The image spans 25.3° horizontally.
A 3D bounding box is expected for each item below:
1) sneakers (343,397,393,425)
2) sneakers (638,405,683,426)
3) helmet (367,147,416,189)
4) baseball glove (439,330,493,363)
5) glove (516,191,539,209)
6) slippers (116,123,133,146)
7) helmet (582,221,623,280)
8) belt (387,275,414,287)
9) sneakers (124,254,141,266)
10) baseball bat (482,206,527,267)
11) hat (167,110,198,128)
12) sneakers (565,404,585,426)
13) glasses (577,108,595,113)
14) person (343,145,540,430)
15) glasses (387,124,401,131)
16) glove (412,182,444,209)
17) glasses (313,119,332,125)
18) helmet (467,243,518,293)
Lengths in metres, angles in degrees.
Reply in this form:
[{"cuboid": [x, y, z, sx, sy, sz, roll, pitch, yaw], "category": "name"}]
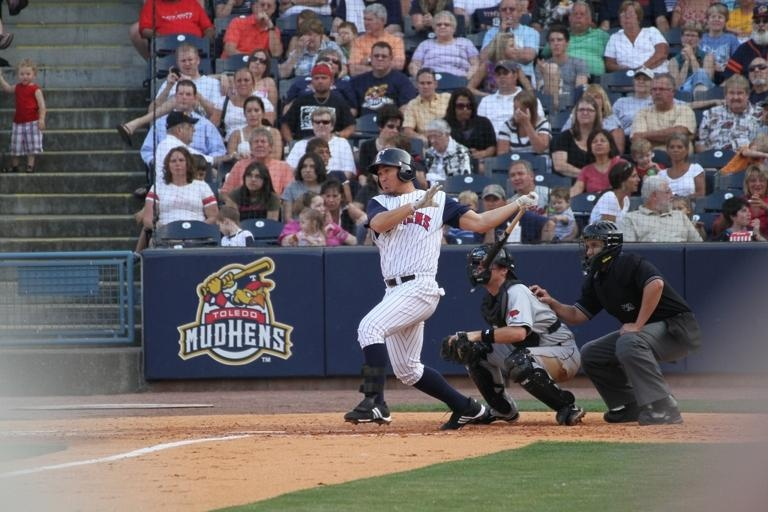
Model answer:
[{"cuboid": [-0.176, 1.554, 17.316, 0.462, 0.199, 0.229, 5, -8, -21], "category": "sneakers"}, {"cuboid": [2.827, 1.626, 17.549, 0.357, 0.126, 0.206, -1, 0, 3], "category": "sneakers"}, {"cuboid": [0.088, -0.916, 17.381, 0.440, 0.302, 0.319, -6, -9, -22], "category": "helmet"}, {"cuboid": [0.855, 0.935, 17.484, 0.424, 0.174, 0.306, 1, 0, -19], "category": "baseball glove"}, {"cuboid": [1.427, -0.545, 17.012, 0.185, 0.109, 0.221, -4, 13, 4], "category": "glove"}, {"cuboid": [-3.223, -1.510, 21.270, 0.150, 0.292, 0.073, 18, 47, 41], "category": "slippers"}, {"cuboid": [2.266, -0.100, 17.601, 0.531, 0.636, 0.494, 0, -1, -4], "category": "helmet"}, {"cuboid": [0.150, 0.248, 17.262, 0.326, 0.119, 0.069, -3, 0, 28], "category": "belt"}, {"cuboid": [-2.917, 0.026, 19.703, 0.182, 0.157, 0.100, -1, 10, -10], "category": "sneakers"}, {"cuboid": [1.262, -0.202, 18.089, 0.109, 0.890, 0.128, 31, 23, -36], "category": "baseball bat"}, {"cuboid": [-2.410, -1.611, 20.059, 0.281, 0.132, 0.172, -4, 7, -32], "category": "hat"}, {"cuboid": [1.983, 1.634, 17.689, 0.148, 0.104, 0.318, 27, 34, 15], "category": "sneakers"}, {"cuboid": [2.403, -1.753, 20.429, 0.171, 0.048, 0.022, -3, 0, 13], "category": "glasses"}, {"cuboid": [0.301, 0.333, 17.229, 1.557, 2.838, 0.789, -3, 0, -2], "category": "person"}, {"cuboid": [0.126, -1.530, 20.333, 0.081, 0.079, 0.209, -3, 0, 30], "category": "glasses"}, {"cuboid": [0.452, -0.594, 16.990, 0.347, 0.261, 0.296, -3, 0, 29], "category": "glove"}, {"cuboid": [-0.755, -1.622, 20.593, 0.219, 0.065, 0.054, -3, 0, -5], "category": "glasses"}, {"cuboid": [1.039, 0.081, 17.575, 0.571, 0.467, 0.427, 3, -2, -6], "category": "helmet"}]
